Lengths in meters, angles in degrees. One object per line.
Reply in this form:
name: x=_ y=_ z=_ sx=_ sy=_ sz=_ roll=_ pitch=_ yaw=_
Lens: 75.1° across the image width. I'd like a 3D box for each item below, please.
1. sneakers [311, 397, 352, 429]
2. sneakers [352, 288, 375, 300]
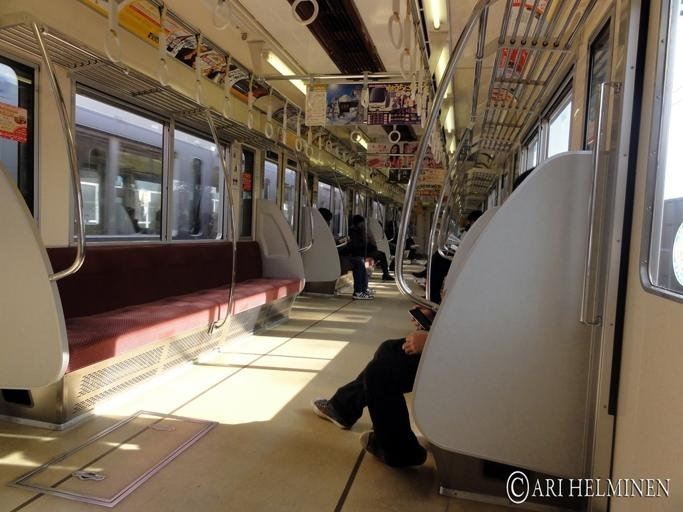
sneakers: x=-0.062 y=1.009 z=2.941 sx=0.106 sy=0.139 sz=0.312 roll=0 pitch=17 yaw=-41
sneakers: x=0.382 y=0.655 z=7.650 sx=0.405 sy=0.242 sz=0.146 roll=1 pitch=-1 yaw=4
